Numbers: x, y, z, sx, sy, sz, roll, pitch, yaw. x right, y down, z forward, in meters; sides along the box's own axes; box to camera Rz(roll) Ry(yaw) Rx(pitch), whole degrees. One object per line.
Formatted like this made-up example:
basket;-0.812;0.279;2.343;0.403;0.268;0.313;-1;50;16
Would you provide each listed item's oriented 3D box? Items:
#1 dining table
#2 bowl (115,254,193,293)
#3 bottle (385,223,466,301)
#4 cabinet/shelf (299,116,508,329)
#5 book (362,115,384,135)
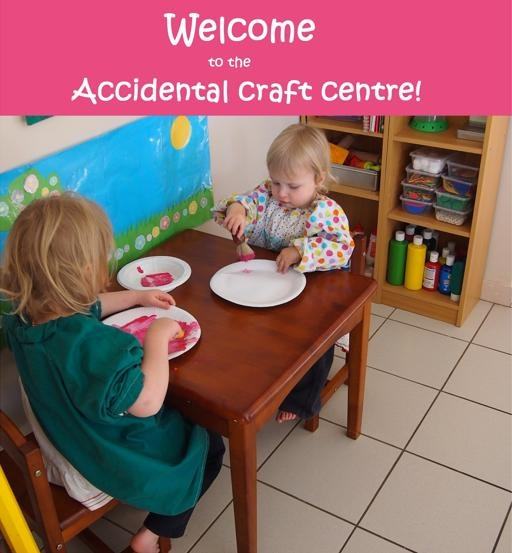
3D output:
dining table;-0.040;0.275;1.518;0.754;0.649;0.765;22;43;30
bowl;-0.306;-0.008;1.409;0.134;0.036;0.136;0;30;0
bottle;0.820;-0.067;2.308;0.294;0.281;0.163;13;25;25
cabinet/shelf;0.652;-0.233;1.983;0.697;1.077;0.279;17;36;21
book;0.524;-0.676;2.132;0.033;0.079;0.126;-23;33;-36
